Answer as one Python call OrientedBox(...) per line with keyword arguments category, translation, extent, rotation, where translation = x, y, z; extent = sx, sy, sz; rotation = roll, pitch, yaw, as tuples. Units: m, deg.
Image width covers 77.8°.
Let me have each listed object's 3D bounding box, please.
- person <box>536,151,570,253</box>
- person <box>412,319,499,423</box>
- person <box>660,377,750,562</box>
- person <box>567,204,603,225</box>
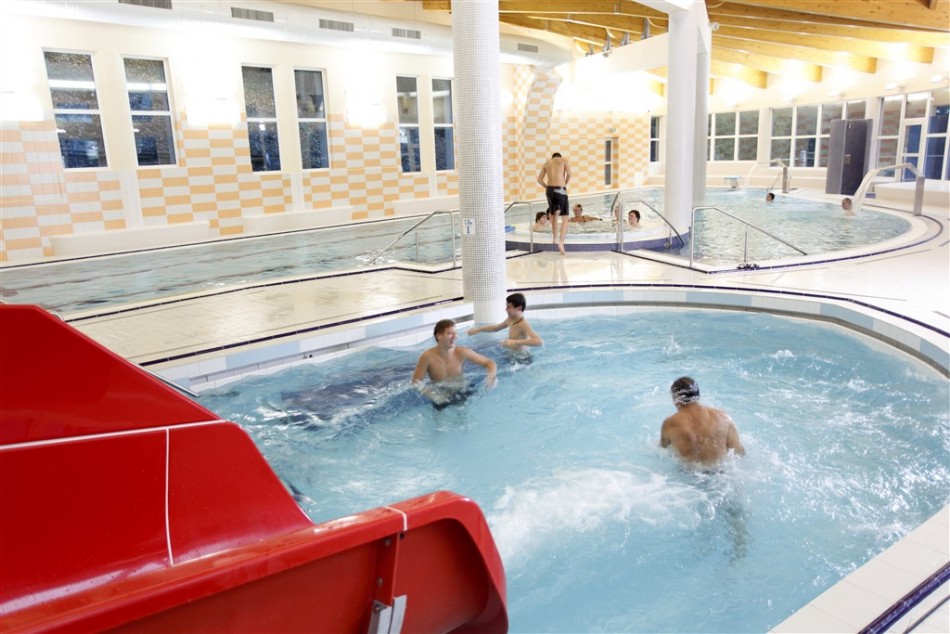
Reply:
OrientedBox(category="person", translation=(1.181, -1.733, 8.818), extent=(0.418, 1.408, 0.949), rotation=(-1, 17, 6))
OrientedBox(category="person", translation=(-0.170, 0.392, 4.796), extent=(0.724, 0.697, 0.488), rotation=(-2, 19, -22))
OrientedBox(category="person", translation=(1.517, 0.896, 3.944), extent=(0.487, 1.222, 0.436), rotation=(-12, 31, 10))
OrientedBox(category="person", translation=(2.081, -1.974, 11.219), extent=(0.459, 0.384, 0.965), rotation=(6, 18, 27))
